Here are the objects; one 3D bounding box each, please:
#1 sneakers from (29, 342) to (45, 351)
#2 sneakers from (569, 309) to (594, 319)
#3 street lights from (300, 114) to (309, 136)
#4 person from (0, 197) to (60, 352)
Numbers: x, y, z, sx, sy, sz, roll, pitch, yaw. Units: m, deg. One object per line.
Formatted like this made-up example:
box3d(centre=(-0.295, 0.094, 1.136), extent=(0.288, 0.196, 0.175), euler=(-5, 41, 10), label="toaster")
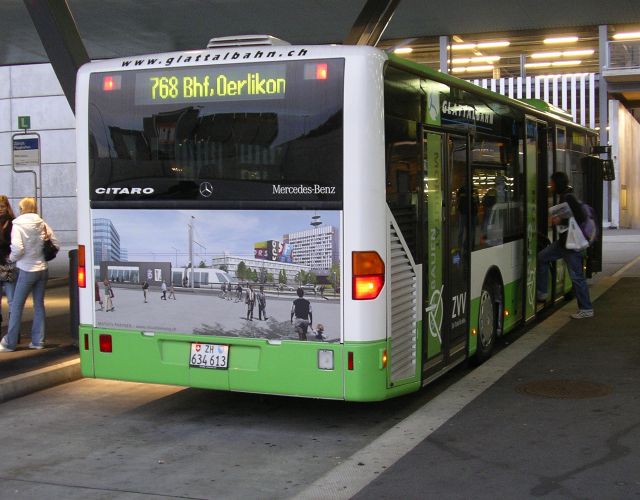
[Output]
box3d(centre=(-3.865, 1.314, 8.959), extent=(0.190, 0.081, 0.281), euler=(-3, 4, -25), label="sneakers")
box3d(centre=(4.390, 1.090, 11.030), extent=(0.428, 0.181, 0.157), euler=(0, 5, 11), label="sneakers")
box3d(centre=(-0.115, -1.054, 5.493), extent=(0.104, 0.167, 0.006), euler=(0, 4, 19), label="street lights")
box3d(centre=(-3.992, 0.324, 8.963), extent=(0.793, 2.076, 0.425), euler=(-3, 4, -23), label="person")
